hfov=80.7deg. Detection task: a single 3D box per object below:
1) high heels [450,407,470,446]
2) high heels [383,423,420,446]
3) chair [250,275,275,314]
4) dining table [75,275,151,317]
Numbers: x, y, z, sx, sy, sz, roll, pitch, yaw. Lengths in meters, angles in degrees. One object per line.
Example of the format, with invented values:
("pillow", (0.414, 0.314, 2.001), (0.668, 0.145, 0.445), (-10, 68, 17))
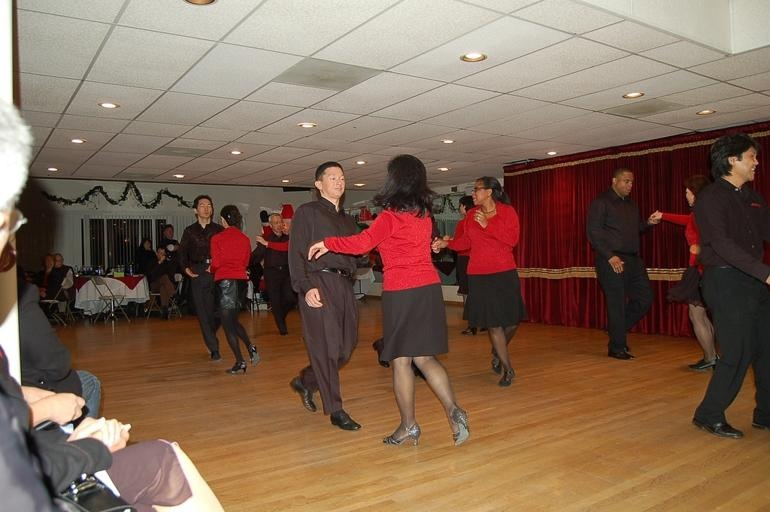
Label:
("high heels", (0.513, 1.214, 3.153), (0.112, 0.317, 0.122), (-4, 39, -2))
("high heels", (0.122, 1.352, 3.432), (0.355, 0.158, 0.130), (-3, -6, 19))
("chair", (-3.135, 0.948, 11.154), (0.446, 0.735, 0.580), (4, -3, 29))
("dining table", (-5.999, 0.674, 10.226), (1.584, 0.669, 1.542), (-9, 21, -44))
